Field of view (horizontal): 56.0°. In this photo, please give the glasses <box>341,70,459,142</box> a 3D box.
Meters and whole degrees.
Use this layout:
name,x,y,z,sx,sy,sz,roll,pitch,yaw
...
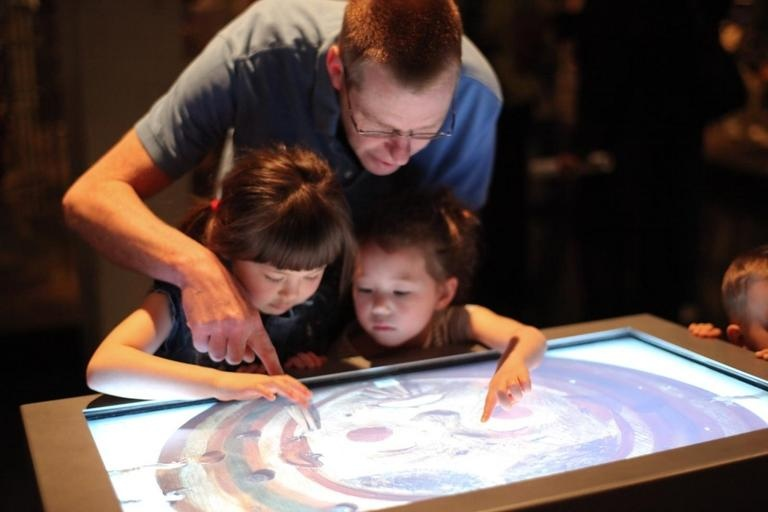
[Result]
name,x,y,z,sx,sy,sz,roll,pitch,yaw
glasses,0.022,-0.396,1.893,0.274,0.181,0.127,-1,16,1
